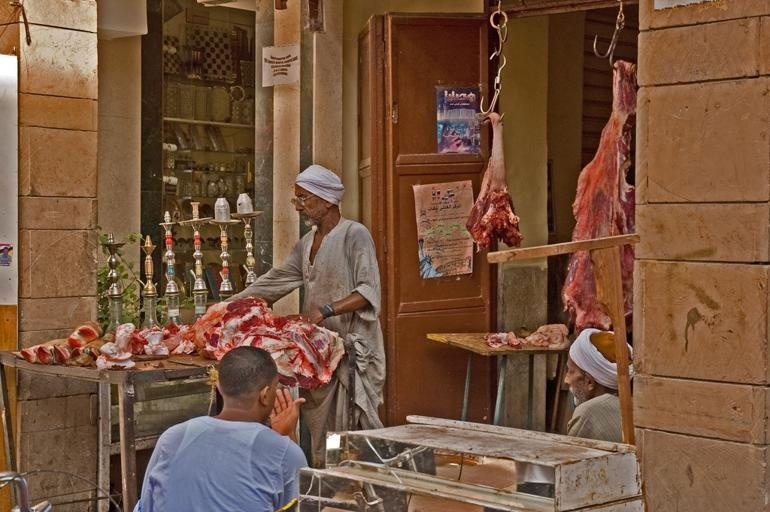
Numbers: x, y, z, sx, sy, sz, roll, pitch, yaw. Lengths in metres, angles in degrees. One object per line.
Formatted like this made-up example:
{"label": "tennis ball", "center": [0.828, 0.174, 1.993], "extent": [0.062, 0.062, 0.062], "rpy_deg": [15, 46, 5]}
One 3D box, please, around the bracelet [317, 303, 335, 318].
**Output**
{"label": "bracelet", "center": [-0.369, 0.344, 5.694], "extent": [0.081, 0.035, 0.082], "rpy_deg": [-22, -14, 26]}

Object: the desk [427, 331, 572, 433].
{"label": "desk", "center": [0.959, 1.042, 6.995], "extent": [0.793, 0.607, 0.811], "rpy_deg": [2, -5, 16]}
